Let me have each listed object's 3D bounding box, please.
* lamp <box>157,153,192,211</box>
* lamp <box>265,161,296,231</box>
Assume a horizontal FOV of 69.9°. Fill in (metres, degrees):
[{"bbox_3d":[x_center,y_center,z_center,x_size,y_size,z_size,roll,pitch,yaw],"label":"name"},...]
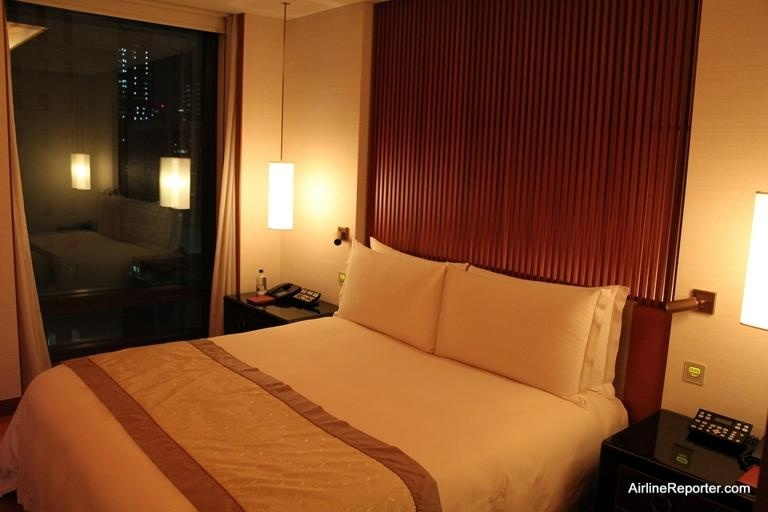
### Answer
[{"bbox_3d":[-2.220,-0.720,5.467,0.308,0.484,0.283,-14,-4,43],"label":"lamp"},{"bbox_3d":[-0.972,-0.568,5.087,0.232,0.602,0.161,4,10,0],"label":"lamp"}]
